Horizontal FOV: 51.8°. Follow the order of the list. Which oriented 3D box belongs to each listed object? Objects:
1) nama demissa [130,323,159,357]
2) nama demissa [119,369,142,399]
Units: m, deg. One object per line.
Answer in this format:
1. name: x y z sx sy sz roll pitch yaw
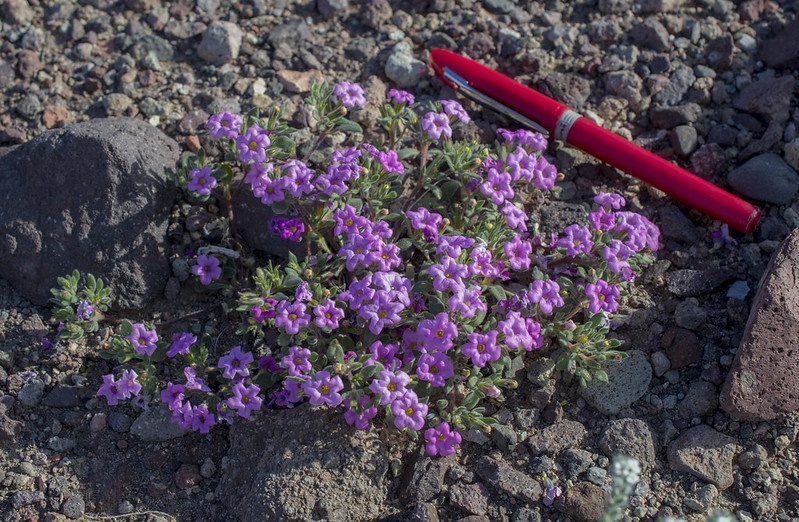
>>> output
1. nama demissa: -2.419 0.739 7.719 0.265 0.232 0.261 25 72 2
2. nama demissa: -2.516 1.136 7.663 0.220 0.070 0.247 17 83 0
